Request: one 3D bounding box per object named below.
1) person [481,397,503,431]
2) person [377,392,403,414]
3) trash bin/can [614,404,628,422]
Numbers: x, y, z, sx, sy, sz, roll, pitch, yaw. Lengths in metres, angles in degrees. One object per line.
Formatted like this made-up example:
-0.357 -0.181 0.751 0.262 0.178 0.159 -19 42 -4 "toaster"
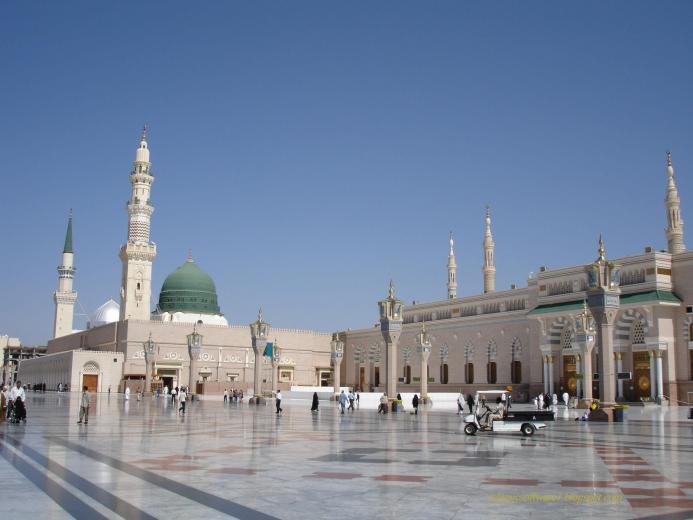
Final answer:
4.050 4.295 20.655 0.980 1.022 0.543 0 -13 4 "person"
1.852 6.665 34.457 1.081 0.932 1.072 -6 -11 29 "person"
9.682 5.421 26.113 0.299 0.577 0.872 -8 -12 31 "trash bin/can"
